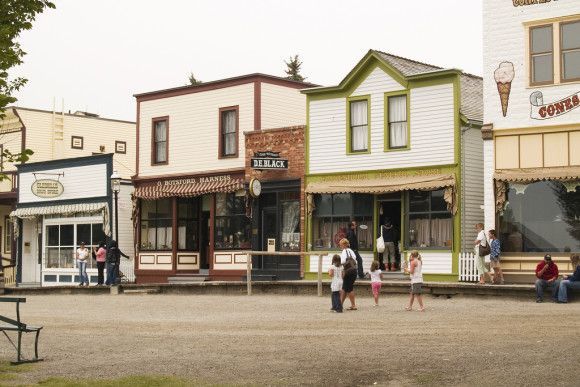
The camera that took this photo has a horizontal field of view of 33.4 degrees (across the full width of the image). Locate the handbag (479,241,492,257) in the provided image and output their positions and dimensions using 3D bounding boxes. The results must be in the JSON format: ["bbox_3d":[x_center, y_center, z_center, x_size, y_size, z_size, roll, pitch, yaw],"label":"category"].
[{"bbox_3d":[7.124,2.061,35.336,0.540,0.620,0.202,-3,-2,-21],"label":"handbag"}]

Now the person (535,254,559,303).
[{"bbox_3d":[8.785,2.924,32.932,0.863,1.610,1.088,-2,-5,34],"label":"person"}]

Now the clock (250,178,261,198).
[{"bbox_3d":[-1.492,-0.202,40.913,0.134,0.812,0.818,-5,0,22],"label":"clock"}]

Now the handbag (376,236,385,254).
[{"bbox_3d":[3.619,2.095,38.604,0.288,0.721,0.699,0,-3,-11],"label":"handbag"}]

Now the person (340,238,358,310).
[{"bbox_3d":[1.917,2.740,32.078,0.677,2.167,0.549,-3,-1,-13],"label":"person"}]

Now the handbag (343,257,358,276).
[{"bbox_3d":[1.992,2.451,31.863,0.519,0.642,0.241,5,-9,-41],"label":"handbag"}]

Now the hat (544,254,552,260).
[{"bbox_3d":[8.808,2.224,33.011,0.188,0.141,0.274,2,-7,2],"label":"hat"}]

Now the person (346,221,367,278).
[{"bbox_3d":[2.554,2.247,37.776,0.787,2.133,0.772,1,-5,-7],"label":"person"}]

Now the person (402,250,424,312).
[{"bbox_3d":[4.091,2.883,31.794,0.622,1.982,0.732,0,-4,-16],"label":"person"}]
